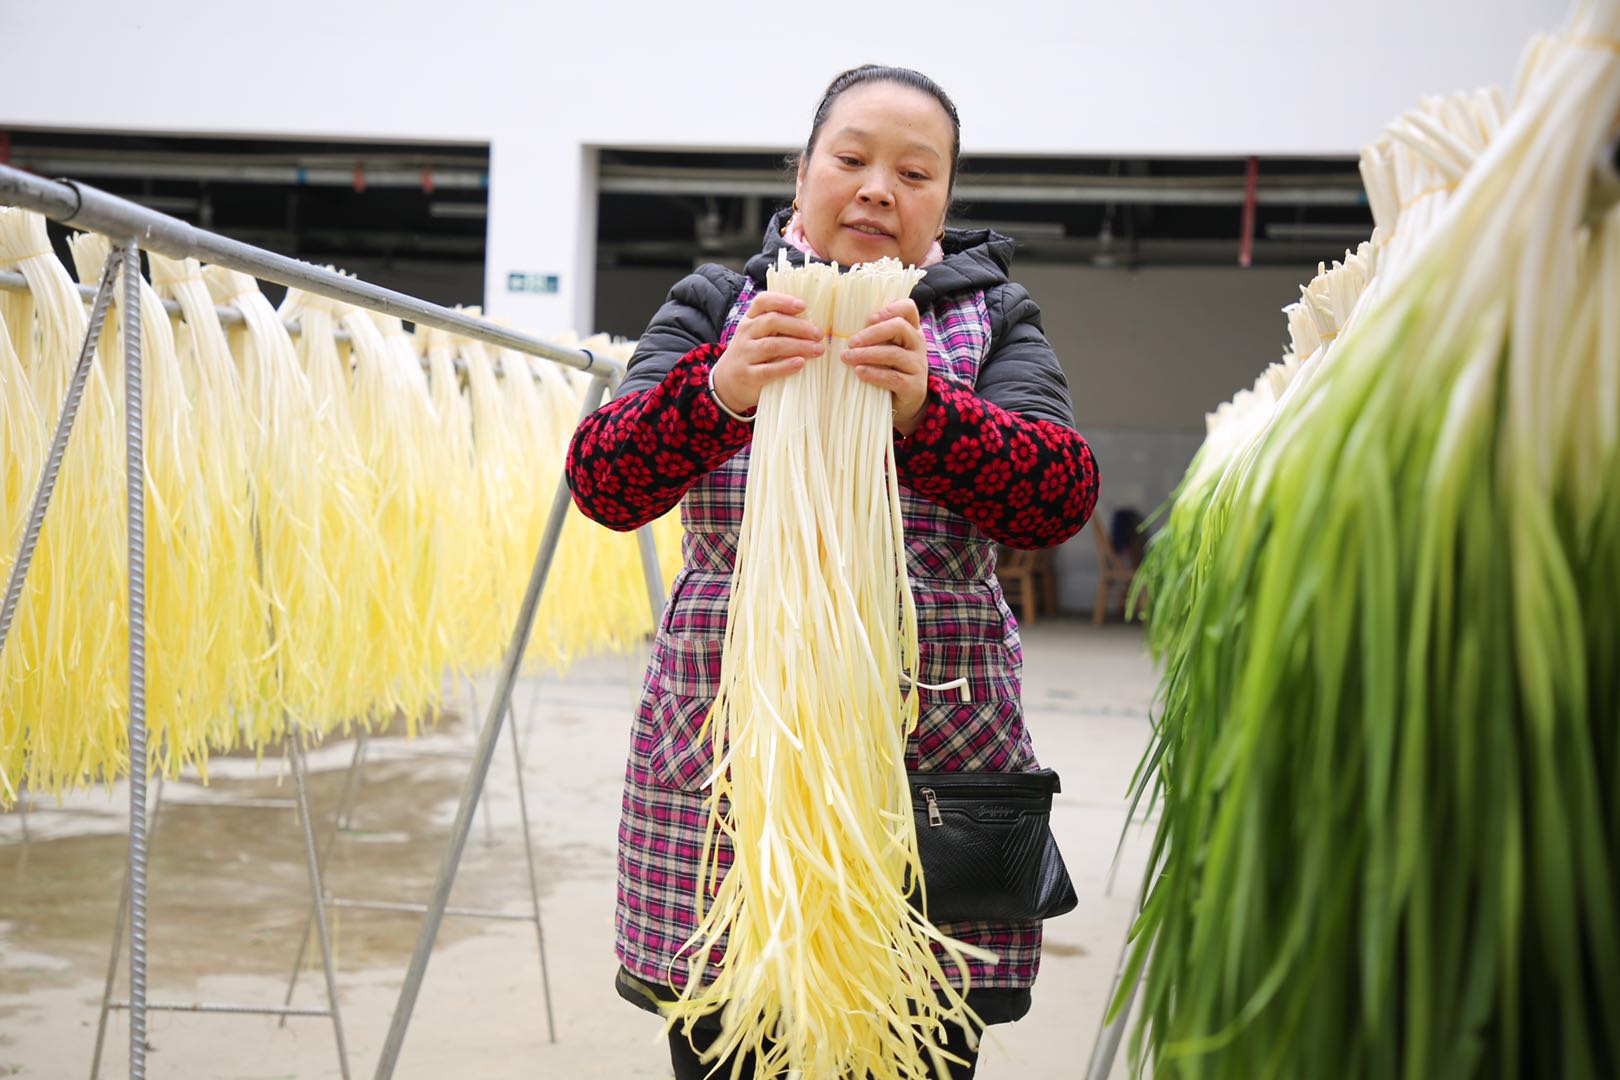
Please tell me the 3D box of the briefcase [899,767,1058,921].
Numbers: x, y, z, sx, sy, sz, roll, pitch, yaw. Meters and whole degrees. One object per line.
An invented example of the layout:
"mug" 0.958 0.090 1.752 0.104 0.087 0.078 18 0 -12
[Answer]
"briefcase" 0.344 0.593 3.489 0.394 0.284 0.158 -5 7 28

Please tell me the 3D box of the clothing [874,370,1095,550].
"clothing" 0.337 -0.123 3.383 0.371 0.297 0.149 32 18 -6

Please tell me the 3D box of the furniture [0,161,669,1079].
"furniture" -1.212 0.337 4.601 0.772 1.706 2.741 1 -10 23

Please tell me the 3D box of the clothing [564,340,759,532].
"clothing" -0.261 -0.192 3.491 0.307 0.219 0.542 11 -31 -29
